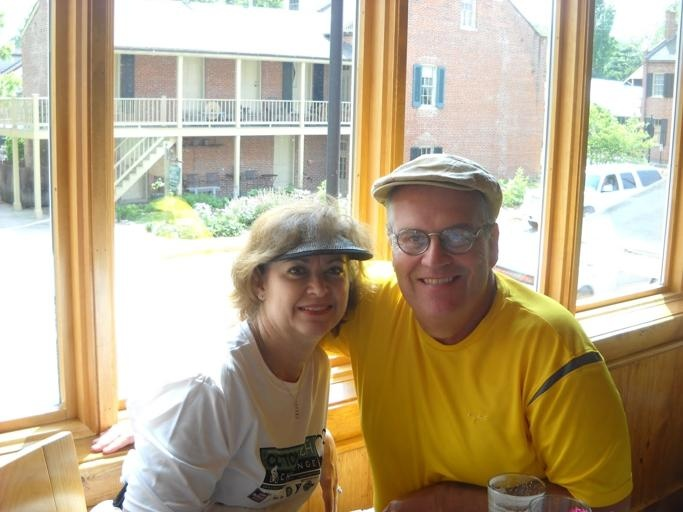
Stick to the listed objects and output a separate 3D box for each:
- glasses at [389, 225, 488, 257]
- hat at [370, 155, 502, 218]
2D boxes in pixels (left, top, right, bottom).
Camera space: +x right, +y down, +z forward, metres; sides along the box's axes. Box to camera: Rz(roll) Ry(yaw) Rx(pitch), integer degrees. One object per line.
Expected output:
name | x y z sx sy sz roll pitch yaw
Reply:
glasses | 0.276 -0.041 1.761 0.267 0.079 0.086 -2 3 11
hat | 0.261 -0.222 1.759 0.230 0.097 0.236 3 -7 45
